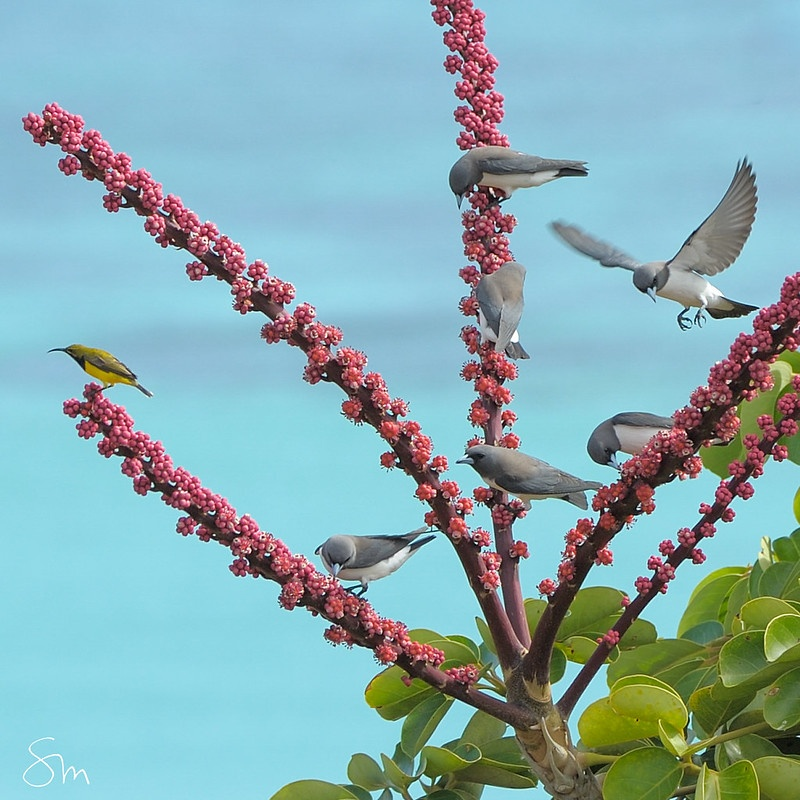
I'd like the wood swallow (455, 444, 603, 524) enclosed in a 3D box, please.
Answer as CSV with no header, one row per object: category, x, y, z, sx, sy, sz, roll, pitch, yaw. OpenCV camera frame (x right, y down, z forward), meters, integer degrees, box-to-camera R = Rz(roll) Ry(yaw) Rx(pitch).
wood swallow,0.599,0.344,8.917,0.495,0.459,0.643,-6,-3,21

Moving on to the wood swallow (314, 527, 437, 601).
wood swallow,-0.111,0.715,9.451,0.591,0.285,0.227,-20,34,-33

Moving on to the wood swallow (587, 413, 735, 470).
wood swallow,1.159,0.125,9.705,0.715,0.292,0.231,-35,11,-39
